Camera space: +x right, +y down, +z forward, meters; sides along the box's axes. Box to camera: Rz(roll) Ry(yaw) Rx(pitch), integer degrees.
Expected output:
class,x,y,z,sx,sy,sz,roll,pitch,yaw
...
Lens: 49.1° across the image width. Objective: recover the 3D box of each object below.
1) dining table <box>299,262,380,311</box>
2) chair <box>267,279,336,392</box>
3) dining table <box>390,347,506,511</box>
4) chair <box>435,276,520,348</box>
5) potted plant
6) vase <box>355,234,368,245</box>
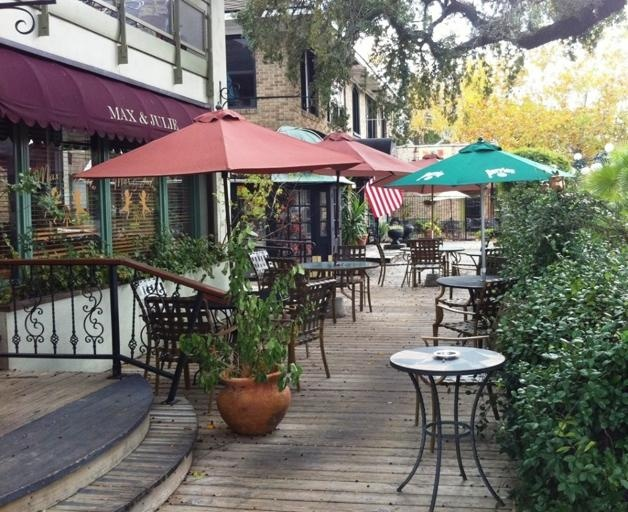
class,x,y,z,sx,sy,sz,roll,pitch,yaw
dining table,0.421,0.619,10.979,0.909,0.628,0.962,-2,6,-8
chair,-0.221,0.768,7.674,0.913,1.412,0.842,2,4,22
dining table,1.095,1.287,5.533,0.861,1.089,1.371,-1,2,15
chair,1.694,0.726,7.400,0.606,1.079,0.714,2,9,-31
potted plant,-0.643,0.673,6.817,1.059,1.963,1.743,-2,2,-3
vase,1.290,-0.455,18.676,0.315,0.262,0.333,0,-3,-7
